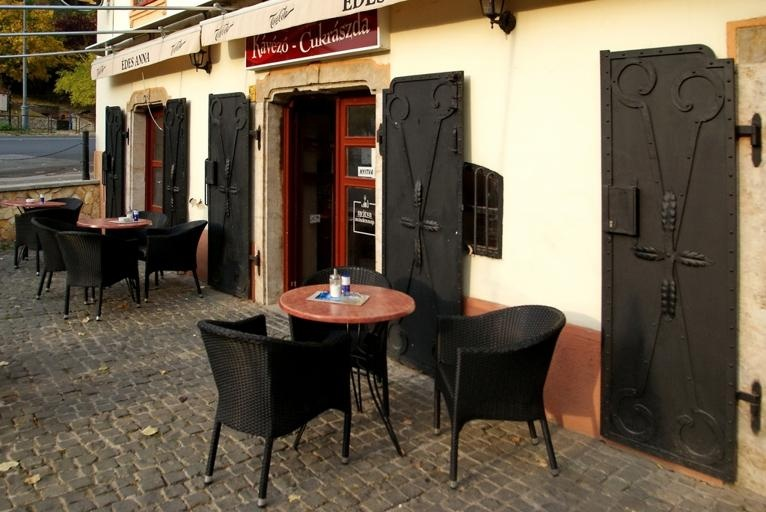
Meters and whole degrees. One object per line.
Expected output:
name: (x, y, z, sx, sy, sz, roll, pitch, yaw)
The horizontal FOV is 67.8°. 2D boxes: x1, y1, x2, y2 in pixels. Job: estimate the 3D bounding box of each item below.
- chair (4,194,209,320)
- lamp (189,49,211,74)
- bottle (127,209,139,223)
chair: (-4.407, -0.024, 9.051, 1.964, 1.291, 2.613, -8, 15, -37)
lamp: (-3.156, -3.321, 9.746, 0.210, 0.400, 0.568, -8, 15, -38)
bottle: (-4.419, -0.706, 9.993, 0.206, 0.237, 0.381, -2, 1, -25)
